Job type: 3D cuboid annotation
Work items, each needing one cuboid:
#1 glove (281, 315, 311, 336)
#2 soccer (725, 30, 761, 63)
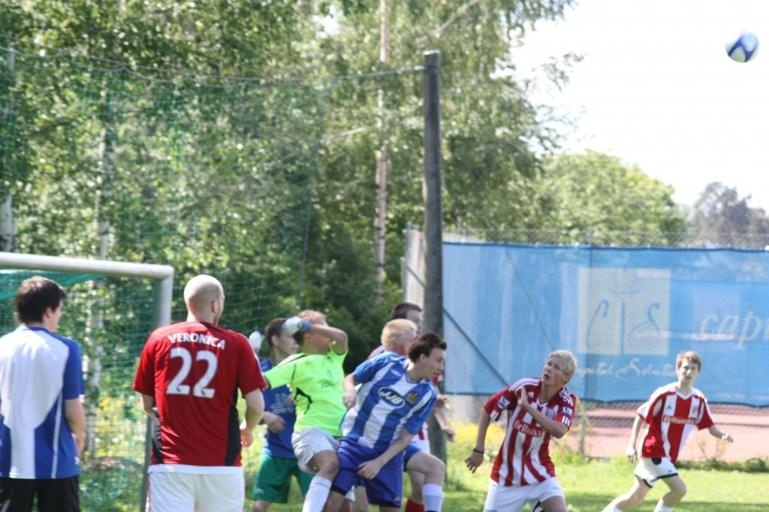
[{"bbox_3d":[-1.583,1.214,23.328,0.417,0.415,0.314,-25,-8,25],"label":"glove"},{"bbox_3d":[7.350,-4.217,26.728,0.582,0.394,0.515,-18,19,26],"label":"soccer"}]
